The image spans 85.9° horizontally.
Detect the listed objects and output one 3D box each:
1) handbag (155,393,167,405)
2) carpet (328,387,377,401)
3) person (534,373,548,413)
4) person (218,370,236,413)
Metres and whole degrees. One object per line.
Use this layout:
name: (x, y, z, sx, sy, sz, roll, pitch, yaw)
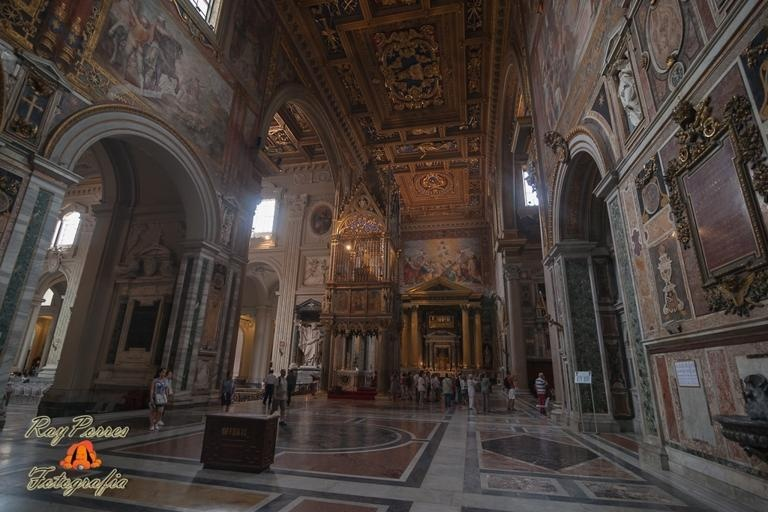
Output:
handbag: (-4.578, 2.923, 8.416, 0.142, 0.249, 0.260, -16, -18, 9)
carpet: (-1.287, 5.568, 16.714, 1.827, 0.289, 1.797, 1, -9, 1)
person: (4.918, 4.241, 12.807, 0.314, 1.085, 0.437, 14, -21, -35)
person: (-4.204, 3.659, 11.027, 0.284, 0.967, 1.274, 5, -10, -21)
